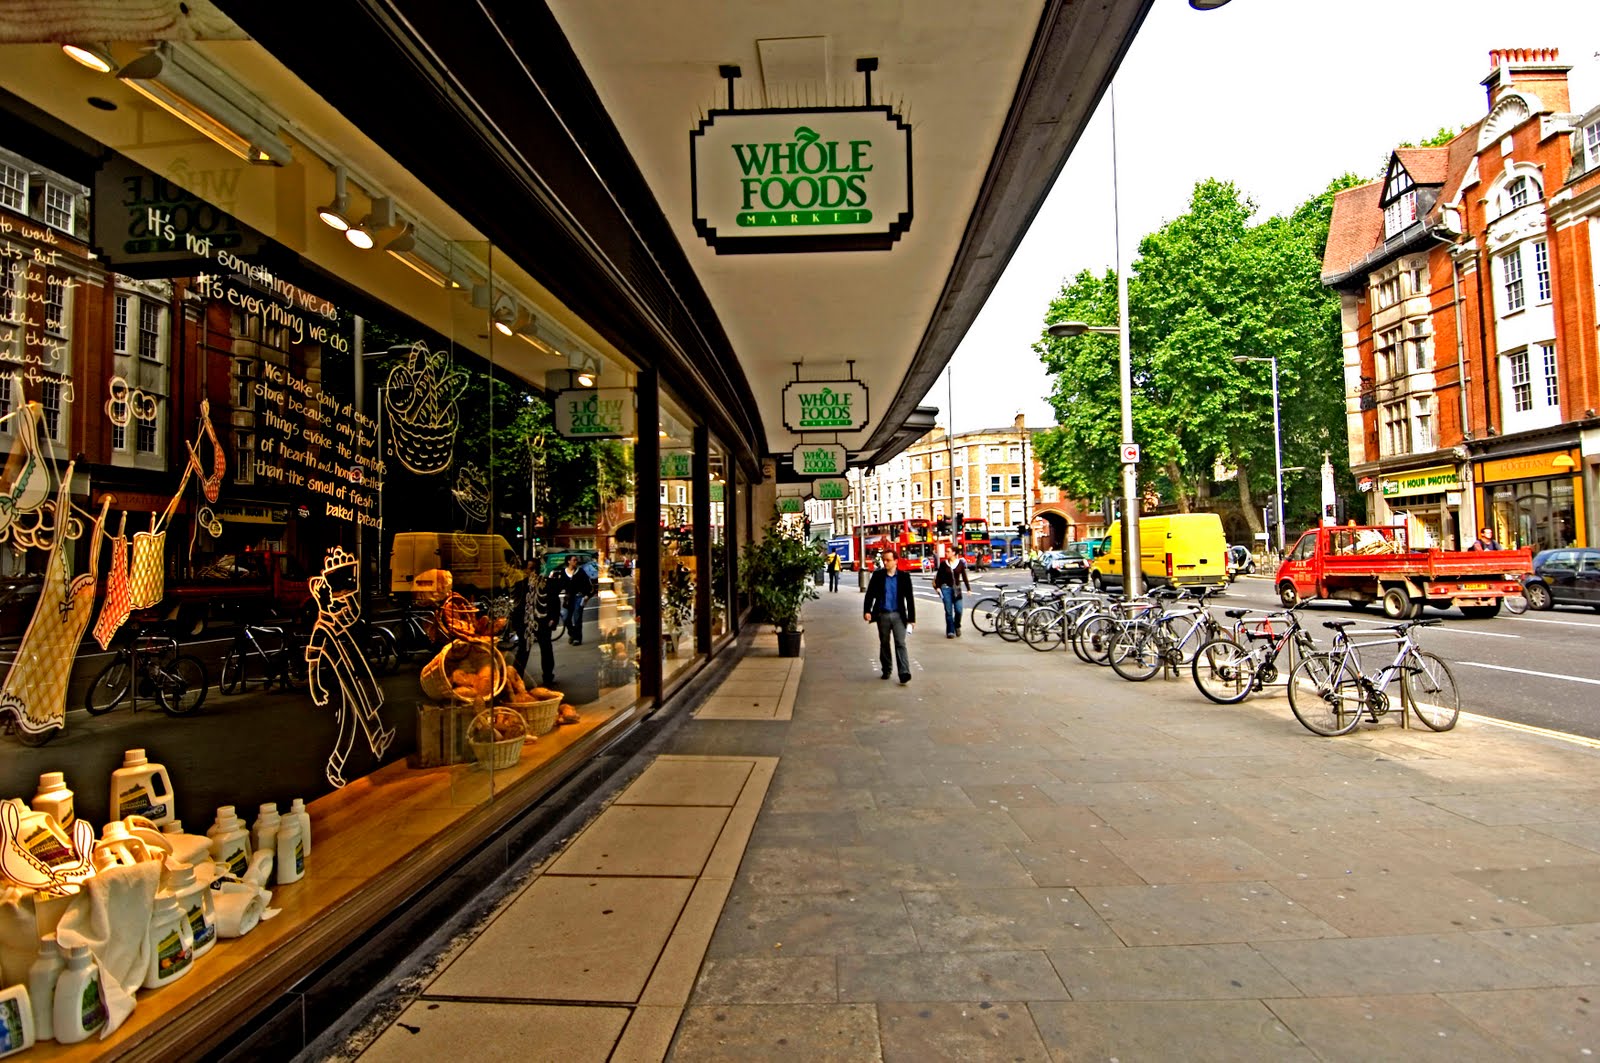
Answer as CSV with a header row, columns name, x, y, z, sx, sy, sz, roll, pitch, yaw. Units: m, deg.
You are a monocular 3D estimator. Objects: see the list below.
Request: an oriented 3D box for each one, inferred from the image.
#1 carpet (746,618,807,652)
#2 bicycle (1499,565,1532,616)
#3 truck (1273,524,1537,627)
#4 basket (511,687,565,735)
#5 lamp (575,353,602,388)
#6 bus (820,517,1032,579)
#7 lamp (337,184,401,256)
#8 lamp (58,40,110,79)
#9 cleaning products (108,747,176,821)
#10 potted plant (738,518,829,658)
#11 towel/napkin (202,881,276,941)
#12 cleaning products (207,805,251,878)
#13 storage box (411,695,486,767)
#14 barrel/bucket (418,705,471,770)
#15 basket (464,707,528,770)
name,x,y,z,sx,sy,sz,roll,pitch,yaw
carpet,-0.639,2.034,19.942,0.822,0.541,0.905,1,-7,0
bicycle,14.019,1.130,20.476,1.028,1.013,0.303,10,-6,-40
truck,12.375,0.743,22.008,2.364,1.732,4.984,-1,0,-12
basket,-2.194,1.478,8.648,0.301,0.181,0.337,0,1,28
lamp,-2.008,-1.510,9.888,0.210,0.232,0.236,6,-4,-23
bus,5.796,0.495,48.158,4.803,4.209,15.749,-1,-3,-18
lamp,-2.683,-1.924,6.536,0.250,0.118,0.323,-1,-6,-39
lamp,-3.295,-2.178,4.830,0.053,0.112,0.215,3,7,28
cleaning products,-3.259,1.273,5.159,0.092,0.432,0.323,1,7,15
potted plant,-0.289,0.986,17.288,1.300,2.220,1.319,-1,6,-4
towel/napkin,-2.913,1.915,5.382,0.272,0.173,0.265,-3,3,-22
cleaning products,-3.061,1.648,5.552,0.177,0.385,0.352,-3,7,-14
storage box,-2.661,1.432,7.830,0.395,0.659,0.699,-4,-5,17
barrel/bucket,-2.628,1.504,7.636,0.258,0.442,0.477,-2,-3,7
basket,-2.315,1.556,7.942,0.407,0.294,0.396,2,-11,-11
